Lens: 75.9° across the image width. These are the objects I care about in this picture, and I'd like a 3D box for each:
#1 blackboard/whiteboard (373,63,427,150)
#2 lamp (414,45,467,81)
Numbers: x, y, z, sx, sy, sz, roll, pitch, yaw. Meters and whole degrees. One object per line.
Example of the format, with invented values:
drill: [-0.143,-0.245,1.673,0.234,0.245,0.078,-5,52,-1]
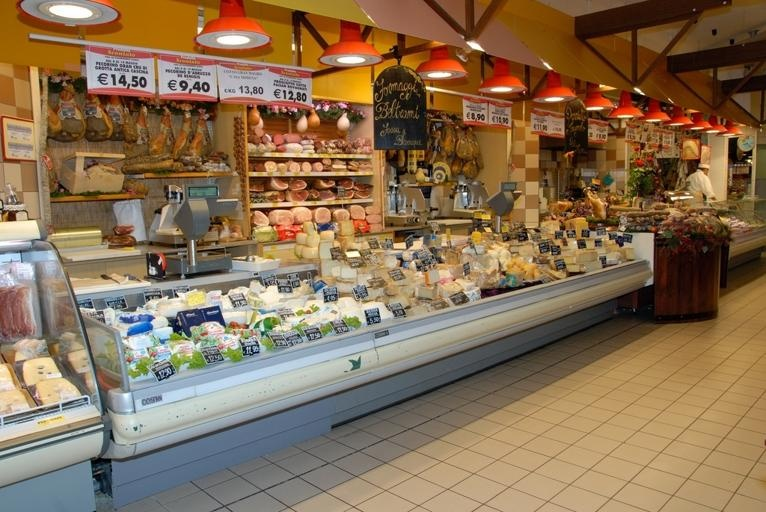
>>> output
blackboard/whiteboard: [0.188,-1.701,5.715,0.657,1.038,0.327,-4,12,-13]
lamp: [0.593,-1.963,4.930,0.493,0.244,0.436,0,-2,0]
